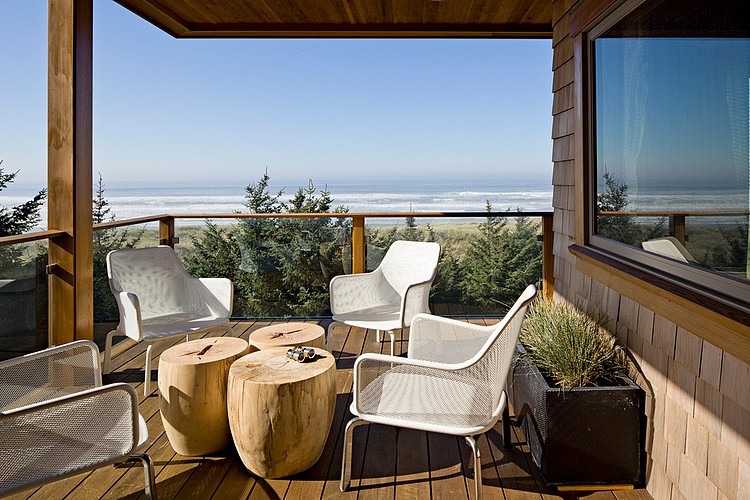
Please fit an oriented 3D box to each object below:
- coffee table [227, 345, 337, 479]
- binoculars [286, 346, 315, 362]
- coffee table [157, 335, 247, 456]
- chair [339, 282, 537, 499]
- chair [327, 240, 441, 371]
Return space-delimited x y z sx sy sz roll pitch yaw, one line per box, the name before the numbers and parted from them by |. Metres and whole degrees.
coffee table | -0.565 0.976 3.322 0.636 0.595 0.660 2 5 3
binoculars | -0.455 0.665 3.293 0.106 0.045 0.108 2 5 35
coffee table | -1.179 0.941 3.505 0.592 0.603 0.623 3 2 23
chair | 0.387 0.879 3.307 1.218 1.248 1.079 2 2 14
chair | 0.085 0.420 4.652 0.823 1.085 1.066 4 7 32
